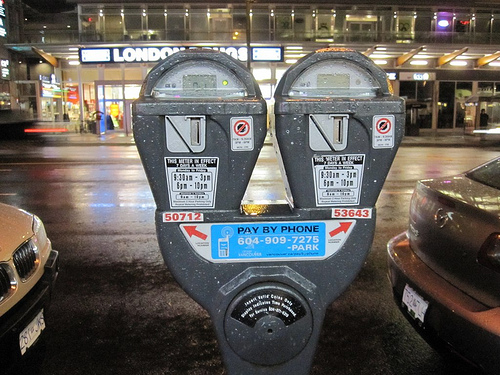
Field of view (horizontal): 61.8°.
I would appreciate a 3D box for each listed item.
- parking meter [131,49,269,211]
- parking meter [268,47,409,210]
[{"bbox_3d":[-0.315,-0.298,2.609,0.784,1.024,0.681,0,1,-11],"label":"parking meter"},{"bbox_3d":[0.569,-0.348,2.647,0.741,1.077,0.666,3,13,19],"label":"parking meter"}]
